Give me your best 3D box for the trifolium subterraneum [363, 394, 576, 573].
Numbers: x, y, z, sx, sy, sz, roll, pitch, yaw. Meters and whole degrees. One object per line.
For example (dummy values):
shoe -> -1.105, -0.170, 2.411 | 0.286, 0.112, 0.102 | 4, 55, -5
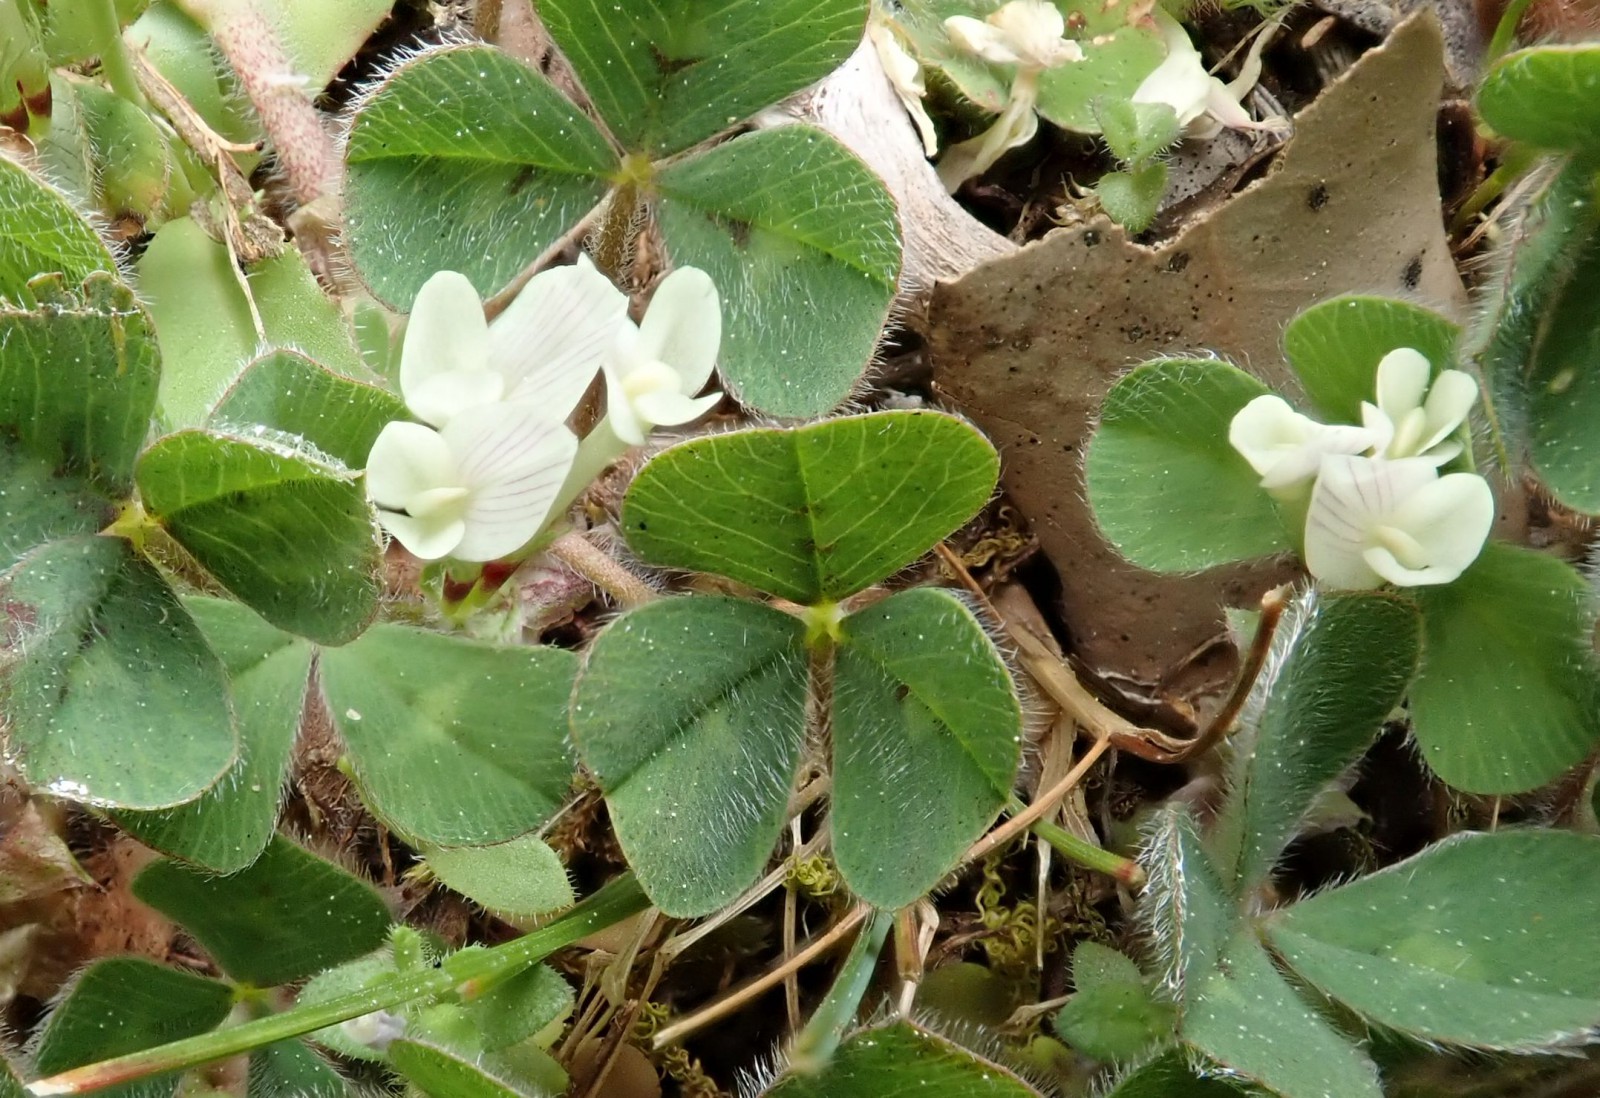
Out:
trifolium subterraneum -> -0.254, -0.057, 1.262 | 0.162, 0.093, 0.103 | -11, 64, -5

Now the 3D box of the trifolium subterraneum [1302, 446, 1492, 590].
trifolium subterraneum -> 0.477, -0.007, 1.347 | 0.163, 0.172, 0.050 | 38, 93, 9

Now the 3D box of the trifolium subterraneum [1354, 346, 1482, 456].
trifolium subterraneum -> 0.521, -0.121, 1.380 | 0.084, 0.043, 0.102 | 33, 85, 12
